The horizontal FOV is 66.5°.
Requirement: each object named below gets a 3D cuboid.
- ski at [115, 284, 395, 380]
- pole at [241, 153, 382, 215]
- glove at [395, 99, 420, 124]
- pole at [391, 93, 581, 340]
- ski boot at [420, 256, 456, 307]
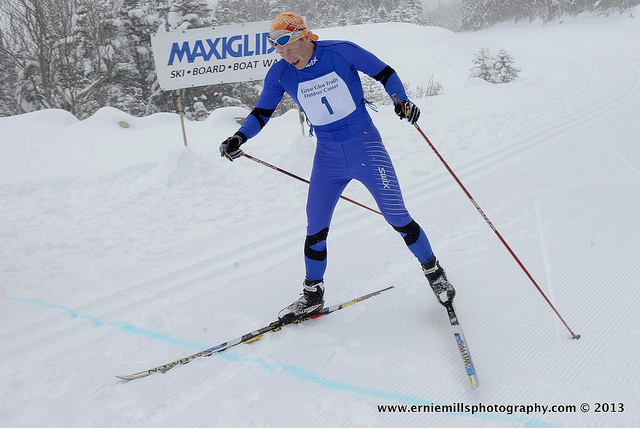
[{"bbox_3d":[-0.589,1.198,4.823,2.234,0.159,0.231,-15,37,-18],"label":"ski"},{"bbox_3d":[-0.129,-0.340,6.159,1.726,0.249,0.106,28,46,10],"label":"pole"},{"bbox_3d":[0.862,-0.982,4.713,0.116,0.186,0.266,-18,43,-33],"label":"glove"},{"bbox_3d":[2.097,0.013,6.165,0.171,4.357,0.633,-46,-6,35],"label":"pole"},{"bbox_3d":[1.188,0.705,4.975,0.151,0.316,0.441,-38,42,20],"label":"ski boot"}]
